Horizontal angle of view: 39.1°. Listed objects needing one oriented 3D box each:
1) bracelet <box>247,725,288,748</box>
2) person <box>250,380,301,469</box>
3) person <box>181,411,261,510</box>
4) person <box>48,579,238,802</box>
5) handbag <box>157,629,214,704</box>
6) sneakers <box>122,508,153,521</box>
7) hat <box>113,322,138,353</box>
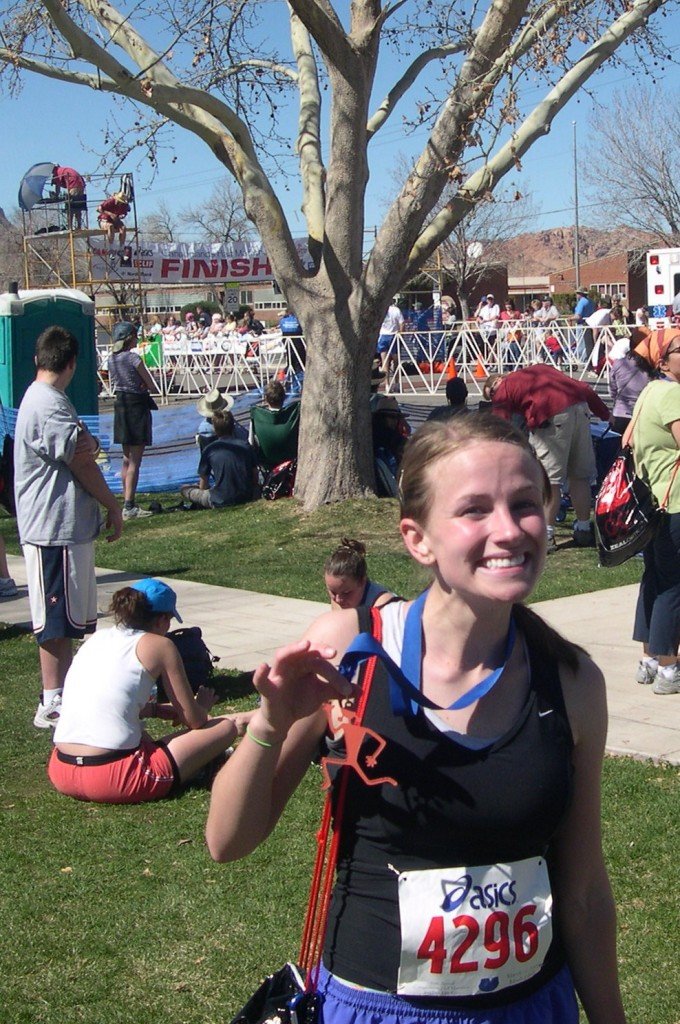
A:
[{"bbox_3d":[-0.098,0.310,1.336,0.036,0.009,0.038,20,-1,17],"label":"bracelet"},{"bbox_3d":[-0.912,-1.144,13.187,0.720,0.528,1.537,-5,-34,-9],"label":"person"},{"bbox_3d":[-1.683,-0.685,13.574,1.390,1.323,0.949,-9,27,-16],"label":"person"},{"bbox_3d":[-0.871,0.895,4.899,0.777,1.059,1.318,0,-1,42],"label":"person"},{"bbox_3d":[-0.927,0.873,5.569,0.301,0.389,0.394,-6,1,-2],"label":"handbag"},{"bbox_3d":[-2.801,0.034,13.120,0.420,0.169,0.147,-2,9,-17],"label":"sneakers"},{"bbox_3d":[-2.827,-2.296,12.547,0.297,0.405,0.174,0,-14,7],"label":"hat"}]
